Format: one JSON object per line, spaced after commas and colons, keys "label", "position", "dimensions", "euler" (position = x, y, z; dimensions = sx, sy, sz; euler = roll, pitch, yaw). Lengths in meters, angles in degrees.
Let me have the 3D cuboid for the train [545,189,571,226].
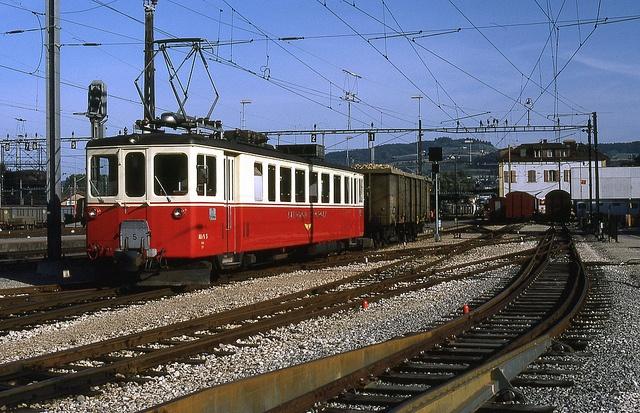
{"label": "train", "position": [22.274, 0.268, 62.084], "dimensions": [3.028, 3.952, 2.172], "euler": [2, 9, 23]}
